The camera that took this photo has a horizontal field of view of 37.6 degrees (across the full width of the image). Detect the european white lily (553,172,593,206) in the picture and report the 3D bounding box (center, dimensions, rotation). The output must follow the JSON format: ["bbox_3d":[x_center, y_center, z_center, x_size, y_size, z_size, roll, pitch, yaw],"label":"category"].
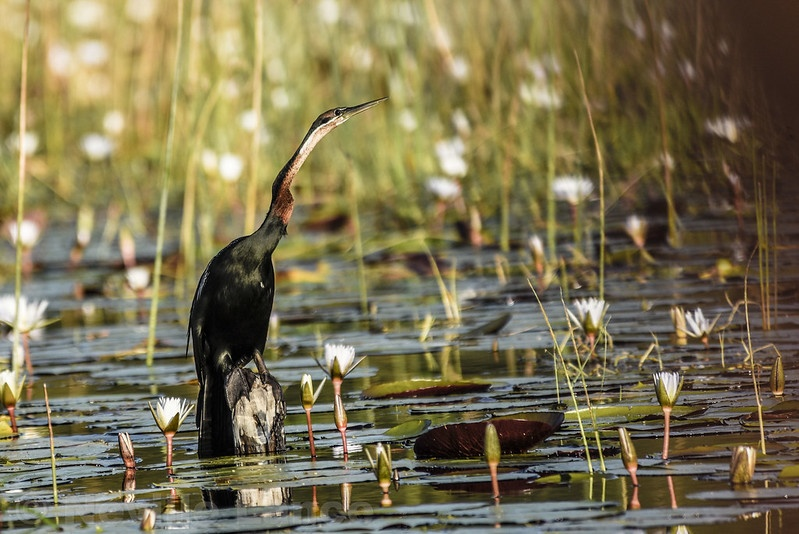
[{"bbox_3d":[1.177,-0.526,8.076,0.264,0.198,0.500,-3,8,8],"label":"european white lily"}]

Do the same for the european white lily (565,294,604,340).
[{"bbox_3d":[1.002,0.312,6.237,0.195,0.241,0.192,-3,-2,5],"label":"european white lily"}]

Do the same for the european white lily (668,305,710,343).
[{"bbox_3d":[1.574,0.335,6.381,0.197,0.139,0.220,-13,12,-33],"label":"european white lily"}]

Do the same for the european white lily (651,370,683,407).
[{"bbox_3d":[1.130,0.519,5.050,0.163,0.184,0.174,0,-1,22],"label":"european white lily"}]

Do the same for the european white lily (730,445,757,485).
[{"bbox_3d":[1.383,0.813,4.755,0.099,0.151,0.036,2,6,-28],"label":"european white lily"}]

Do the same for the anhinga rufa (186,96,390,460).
[{"bbox_3d":[-0.558,0.066,5.544,1.138,1.588,0.369,-4,-5,32],"label":"anhinga rufa"}]

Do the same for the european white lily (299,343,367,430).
[{"bbox_3d":[-0.293,0.521,5.429,0.384,0.540,0.352,-2,3,-10],"label":"european white lily"}]
